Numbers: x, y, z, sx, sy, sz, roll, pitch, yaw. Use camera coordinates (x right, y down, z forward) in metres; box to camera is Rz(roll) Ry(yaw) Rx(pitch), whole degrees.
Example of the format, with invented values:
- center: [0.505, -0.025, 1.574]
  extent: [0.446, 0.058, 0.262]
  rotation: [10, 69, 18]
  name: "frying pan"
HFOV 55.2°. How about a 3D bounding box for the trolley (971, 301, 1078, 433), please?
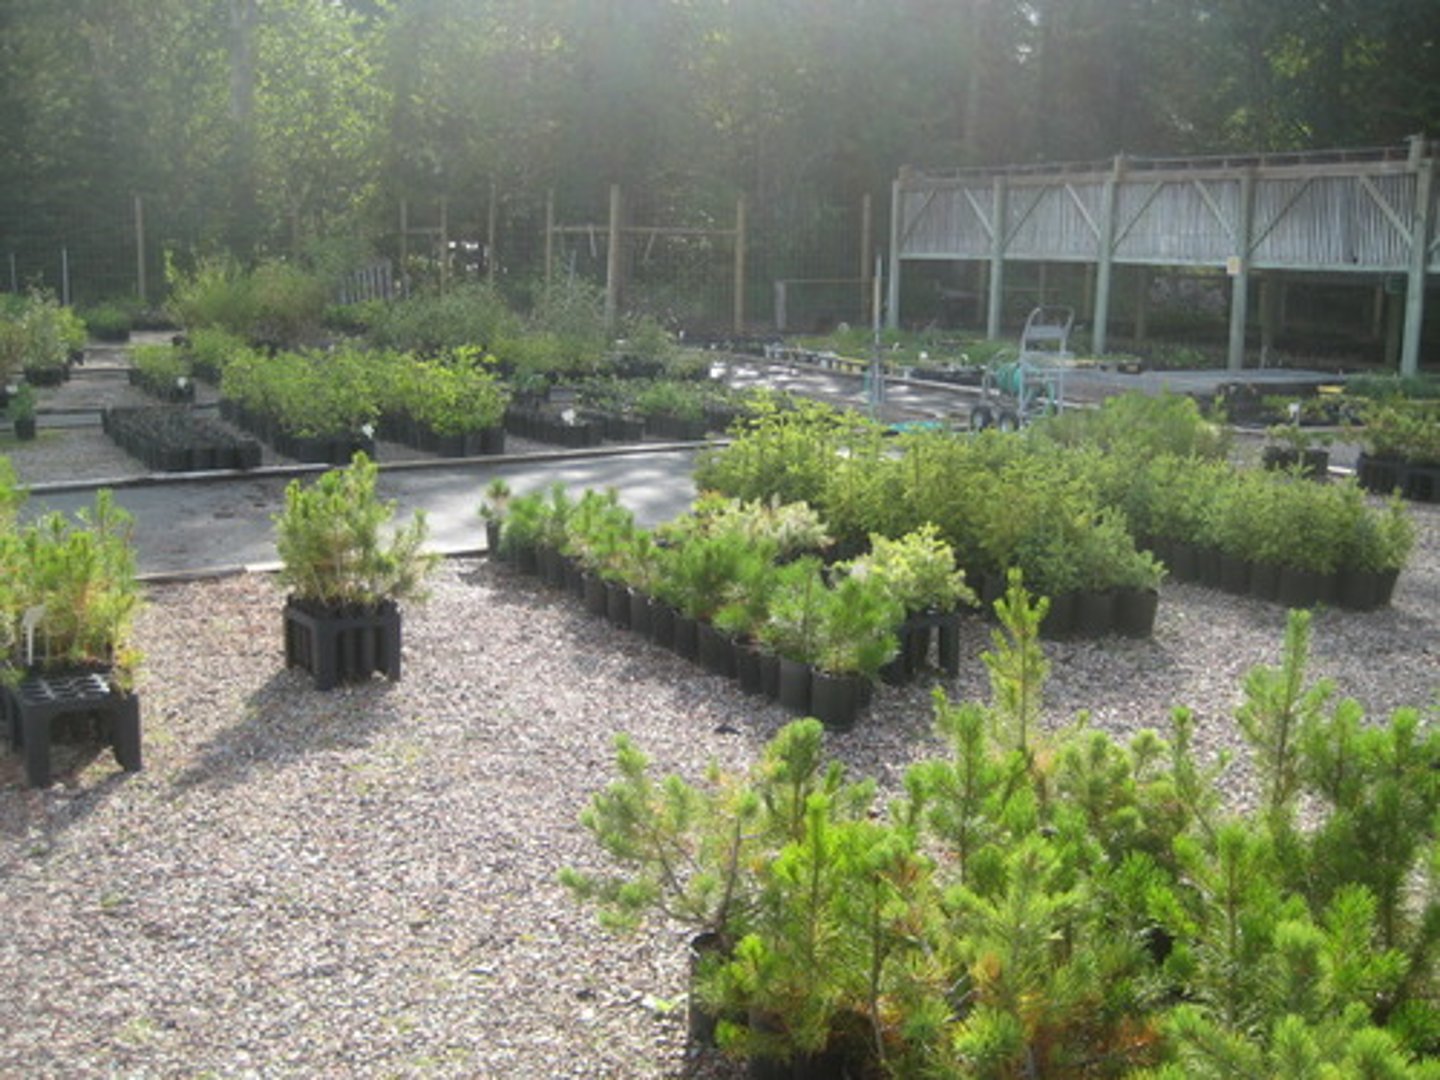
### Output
- center: [3.430, -1.951, 15.672]
  extent: [0.730, 1.521, 0.913]
  rotation: [-3, 9, -30]
  name: "trolley"
